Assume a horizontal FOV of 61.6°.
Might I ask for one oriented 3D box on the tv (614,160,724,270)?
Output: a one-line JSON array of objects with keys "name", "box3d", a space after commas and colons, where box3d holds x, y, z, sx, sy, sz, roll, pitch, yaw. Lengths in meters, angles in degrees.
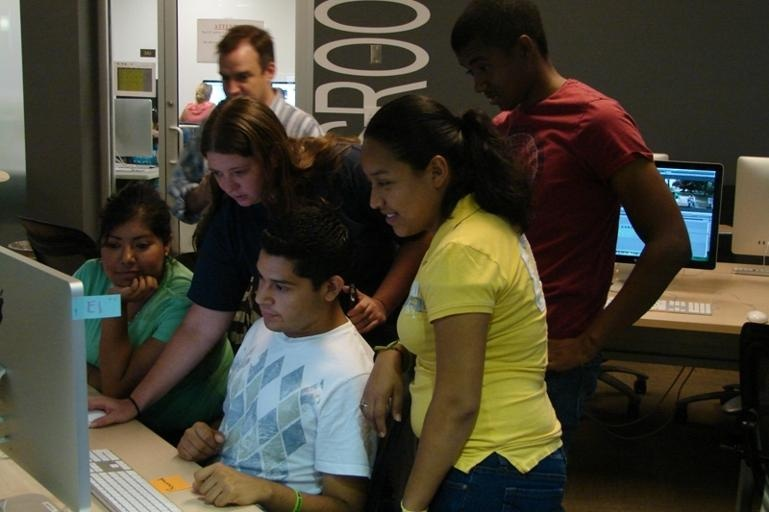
[{"name": "tv", "box3d": [1.168, -0.174, 2.618, 0.552, 0.413, 0.065, 6, 6, 7]}]
